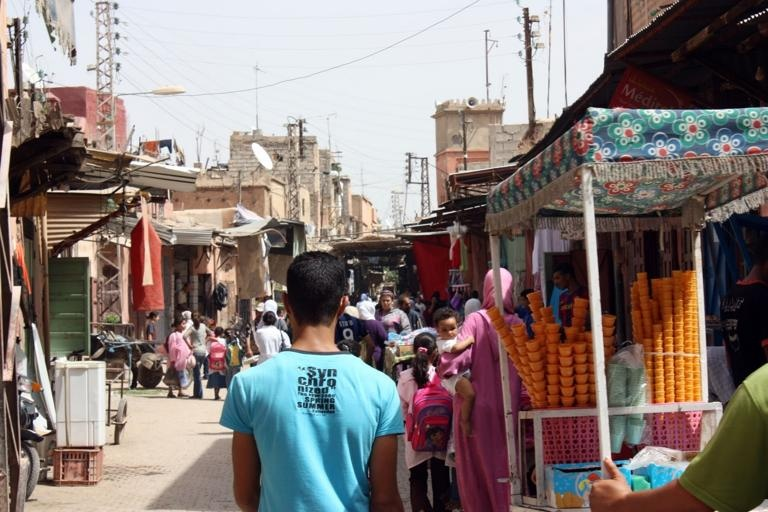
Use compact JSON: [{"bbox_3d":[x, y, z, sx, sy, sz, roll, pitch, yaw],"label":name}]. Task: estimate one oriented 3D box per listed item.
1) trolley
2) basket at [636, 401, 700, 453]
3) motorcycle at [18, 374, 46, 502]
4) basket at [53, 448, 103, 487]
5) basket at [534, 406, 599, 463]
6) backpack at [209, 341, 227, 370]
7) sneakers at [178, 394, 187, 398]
[{"bbox_3d":[-3.360,1.751,13.238,0.802,1.137,1.117,0,0,-4],"label":"trolley"},{"bbox_3d":[2.372,1.430,9.747,0.399,0.372,0.399,1,0,-1],"label":"basket"},{"bbox_3d":[-3.657,1.899,12.118,0.247,1.260,1.856,-1,-5,-16],"label":"motorcycle"},{"bbox_3d":[-3.330,2.296,12.682,0.418,0.326,0.422,1,-6,-4],"label":"basket"},{"bbox_3d":[1.513,1.495,9.725,0.461,0.286,0.460,-1,-5,4],"label":"basket"},{"bbox_3d":[-2.795,1.693,19.659,0.294,0.445,0.446,1,-6,-3],"label":"backpack"},{"bbox_3d":[-3.447,2.432,20.119,0.142,0.065,0.061,-1,0,-36],"label":"sneakers"}]
